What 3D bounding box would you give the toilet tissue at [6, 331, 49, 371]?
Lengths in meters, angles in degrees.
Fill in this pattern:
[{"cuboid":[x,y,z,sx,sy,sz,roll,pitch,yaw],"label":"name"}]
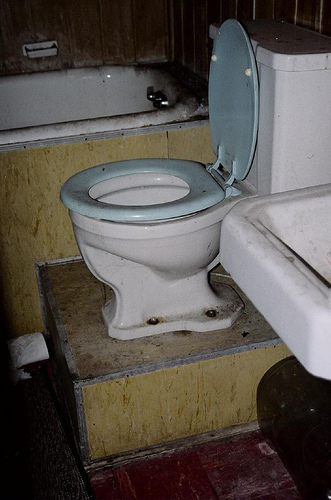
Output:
[{"cuboid":[-0.413,0.305,1.301,0.107,0.059,0.173,-15,29,-19],"label":"toilet tissue"}]
